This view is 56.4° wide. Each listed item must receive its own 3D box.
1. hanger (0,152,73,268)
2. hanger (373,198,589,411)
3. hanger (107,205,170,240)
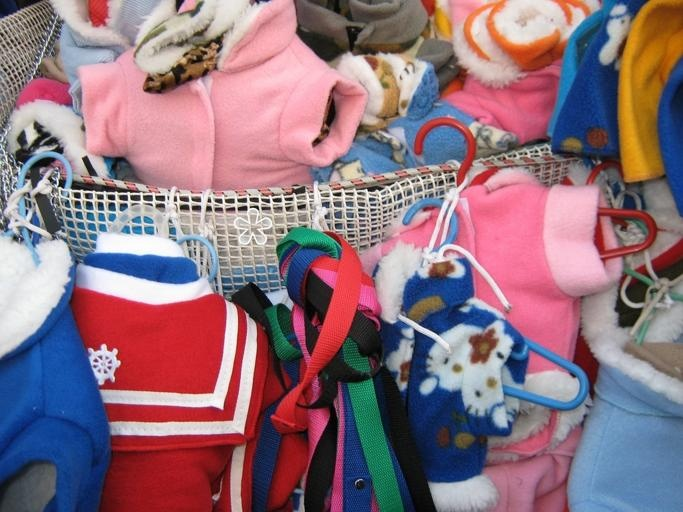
[{"bbox_3d":[-0.488,-0.085,1.034,0.096,0.182,0.238,-1,3,-23],"label":"hanger"},{"bbox_3d":[0.238,0.070,1.143,0.441,0.260,0.055,46,3,11],"label":"hanger"},{"bbox_3d":[-0.346,-0.054,1.078,0.078,0.067,0.020,-13,-1,-8],"label":"hanger"}]
